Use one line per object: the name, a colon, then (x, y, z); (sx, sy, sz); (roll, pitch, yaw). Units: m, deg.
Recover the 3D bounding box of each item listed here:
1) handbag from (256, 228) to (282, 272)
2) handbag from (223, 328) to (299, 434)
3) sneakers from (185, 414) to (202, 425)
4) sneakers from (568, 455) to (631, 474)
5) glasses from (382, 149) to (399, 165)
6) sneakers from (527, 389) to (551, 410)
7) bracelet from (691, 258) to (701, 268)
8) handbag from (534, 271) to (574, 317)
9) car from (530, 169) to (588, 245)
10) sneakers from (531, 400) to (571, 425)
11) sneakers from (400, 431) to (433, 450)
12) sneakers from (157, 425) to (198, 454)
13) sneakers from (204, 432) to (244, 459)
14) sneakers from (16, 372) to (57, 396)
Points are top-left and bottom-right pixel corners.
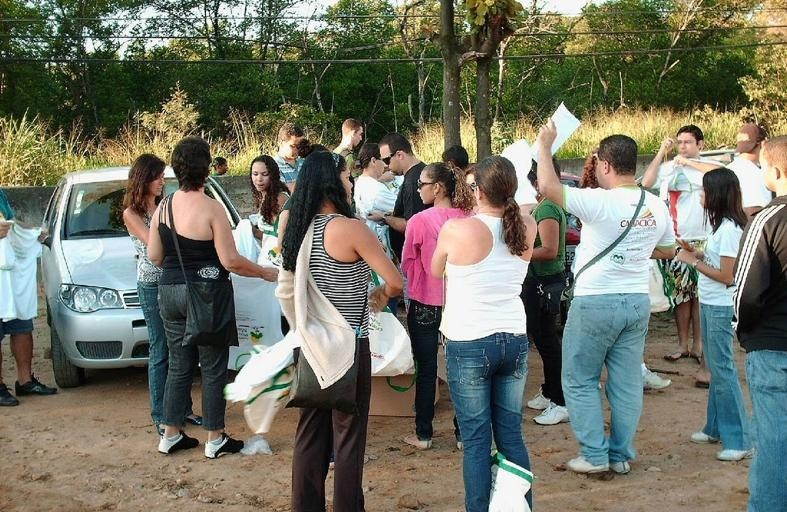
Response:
handbag: (-1.318, -0.050, 8.152); (0.409, 0.405, 0.164); (1, -6, 39)
handbag: (-1.075, 1.036, 6.270); (0.682, 0.799, 0.346); (30, 4, 43)
sneakers: (-2.177, 1.787, 8.298); (0.214, 0.077, 0.121); (-3, -2, 45)
sneakers: (1.955, 1.981, 7.317); (0.593, 0.229, 0.212); (2, -5, 2)
glasses: (-0.030, -1.105, 8.544); (0.138, 0.041, 0.136); (-28, 3, -11)
sneakers: (1.650, 1.645, 8.634); (0.315, 0.222, 0.127); (1, 5, 39)
bracelet: (3.029, 0.079, 7.615); (0.059, 0.085, 0.088); (-10, 17, 21)
handbag: (1.693, 0.403, 8.092); (0.509, 0.588, 0.249); (-7, -3, -43)
car: (2.433, -0.668, 11.340); (0.907, 0.800, 1.568); (-1, -6, 5)
sneakers: (1.728, 1.710, 8.272); (0.466, 0.206, 0.181); (-4, 1, -7)
sneakers: (0.237, 1.894, 7.819); (0.298, 0.133, 0.131); (9, 6, 37)
sneakers: (-2.169, 1.876, 7.768); (0.491, 0.216, 0.172); (1, 6, -44)
sneakers: (-1.702, 1.895, 7.573); (0.456, 0.215, 0.172); (-5, 9, -39)
sneakers: (-4.111, 1.533, 9.000); (0.594, 0.280, 0.197); (0, -1, -8)
